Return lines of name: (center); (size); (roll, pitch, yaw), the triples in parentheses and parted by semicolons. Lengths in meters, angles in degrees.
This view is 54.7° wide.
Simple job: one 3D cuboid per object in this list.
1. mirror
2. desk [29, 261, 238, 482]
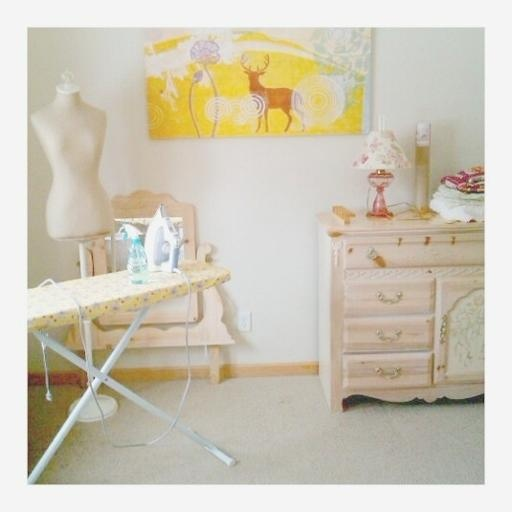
mirror: (-0.578, 0.062, 2.703); (0.581, 0.825, 0.433); (-2, 6, -7)
desk: (-0.332, 0.354, 2.058); (1.112, 0.678, 0.549); (-6, 12, -22)
